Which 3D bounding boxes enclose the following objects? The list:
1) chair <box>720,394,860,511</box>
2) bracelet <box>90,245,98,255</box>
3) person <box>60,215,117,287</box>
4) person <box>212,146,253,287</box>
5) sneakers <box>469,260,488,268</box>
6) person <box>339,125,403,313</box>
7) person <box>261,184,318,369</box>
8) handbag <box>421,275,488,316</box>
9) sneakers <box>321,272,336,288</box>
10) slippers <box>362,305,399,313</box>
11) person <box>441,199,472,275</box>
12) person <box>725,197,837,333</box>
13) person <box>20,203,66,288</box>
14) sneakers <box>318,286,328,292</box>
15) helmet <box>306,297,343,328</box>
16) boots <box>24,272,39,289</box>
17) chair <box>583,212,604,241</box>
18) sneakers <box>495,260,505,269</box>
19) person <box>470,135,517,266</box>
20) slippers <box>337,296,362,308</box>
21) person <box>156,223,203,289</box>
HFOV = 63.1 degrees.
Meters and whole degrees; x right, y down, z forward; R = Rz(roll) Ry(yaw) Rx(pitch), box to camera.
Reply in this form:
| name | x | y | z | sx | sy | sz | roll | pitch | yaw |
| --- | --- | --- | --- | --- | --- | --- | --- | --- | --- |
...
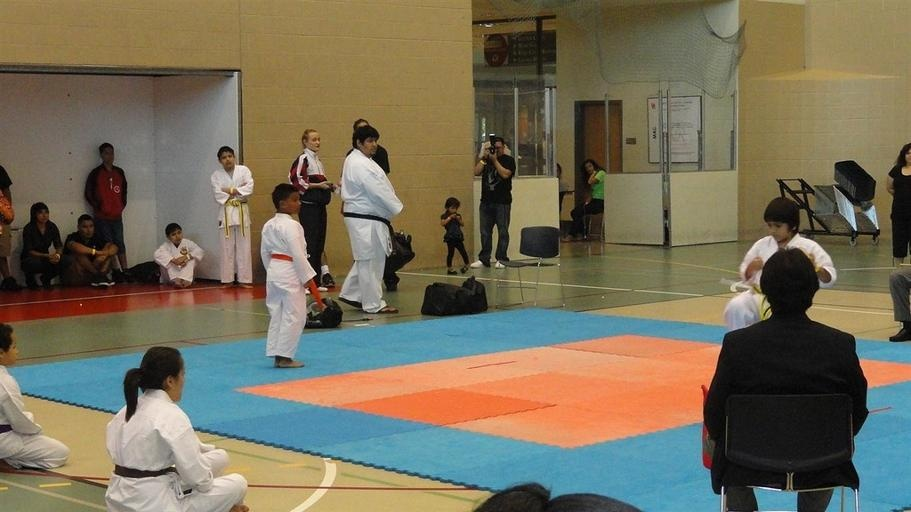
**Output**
| name | x | y | z | sx | sy | sz | roll | pitch | yaw |
| --- | --- | --- | --- | --- | --- | --- | --- | --- | --- |
| chair | 2.048 | 1.149 | 4.645 | 0.672 | 1.064 | 0.686 | -1 | 7 | 8 |
| bracelet | -6.857 | -0.095 | 14.045 | 0.117 | 0.104 | 0.116 | 6 | 12 | -35 |
| person | -6.946 | -0.094 | 14.072 | 0.892 | 1.347 | 0.537 | -6 | 7 | -32 |
| person | -4.143 | -0.724 | 13.875 | 0.732 | 2.595 | 0.518 | -3 | 6 | -11 |
| sneakers | 0.486 | 0.179 | 15.805 | 0.452 | 0.175 | 0.145 | 4 | -4 | -15 |
| person | -1.363 | -0.537 | 11.559 | 0.959 | 2.904 | 0.421 | -2 | 6 | -1 |
| person | -2.031 | 0.252 | 8.985 | 0.621 | 2.207 | 0.401 | -3 | 6 | -5 |
| handbag | -0.045 | 0.652 | 11.809 | 0.839 | 0.481 | 0.547 | -3 | 3 | -24 |
| sneakers | -2.370 | 0.482 | 13.724 | 0.144 | 0.163 | 0.409 | 0 | -7 | -16 |
| slippers | -1.190 | 0.866 | 11.722 | 0.540 | 0.131 | 0.184 | -1 | 1 | -5 |
| person | -0.004 | -0.441 | 15.388 | 0.565 | 1.528 | 1.186 | -2 | 5 | -1 |
| person | 3.140 | 0.250 | 7.344 | 1.181 | 1.474 | 0.809 | -3 | 11 | -1 |
| person | -7.784 | -0.197 | 13.892 | 0.704 | 1.581 | 0.602 | -5 | 6 | -28 |
| sneakers | -2.399 | 0.600 | 13.346 | 0.210 | 0.082 | 0.072 | -4 | -1 | 37 |
| helmet | -1.953 | 0.862 | 11.027 | 0.520 | 0.433 | 0.402 | 3 | 2 | 16 |
| boots | -7.966 | 0.463 | 13.883 | 0.279 | 0.304 | 0.184 | 3 | 19 | 18 |
| chair | 3.791 | -0.781 | 20.423 | 0.582 | 0.771 | 0.851 | 2 | 1 | -6 |
| sneakers | 0.845 | 0.170 | 14.053 | 0.197 | 0.105 | 0.295 | 0 | -2 | 4 |
| person | 0.771 | -1.122 | 15.620 | 1.013 | 2.686 | 1.010 | 4 | 5 | 36 |
| slippers | -1.671 | 0.744 | 11.781 | 0.263 | 0.061 | 0.261 | 18 | 7 | 10 |
| person | -5.419 | -0.027 | 14.365 | 0.834 | 1.197 | 0.762 | 0 | 6 | 19 |
